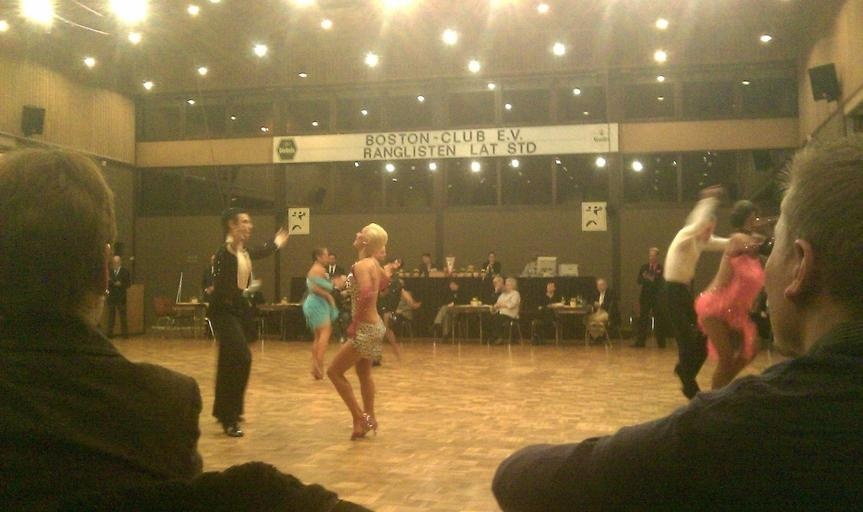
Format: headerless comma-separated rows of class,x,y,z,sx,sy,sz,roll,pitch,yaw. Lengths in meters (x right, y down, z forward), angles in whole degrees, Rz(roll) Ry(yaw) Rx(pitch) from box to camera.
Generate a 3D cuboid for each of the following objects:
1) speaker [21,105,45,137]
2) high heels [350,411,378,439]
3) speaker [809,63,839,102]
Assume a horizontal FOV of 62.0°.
speaker,-9.041,-3.065,16.336,0.176,0.625,0.649,6,-12,18
high heels,-0.518,1.383,5.776,0.261,0.138,0.130,-15,1,38
speaker,7.622,-3.379,13.877,0.507,0.756,0.455,-1,-2,38
